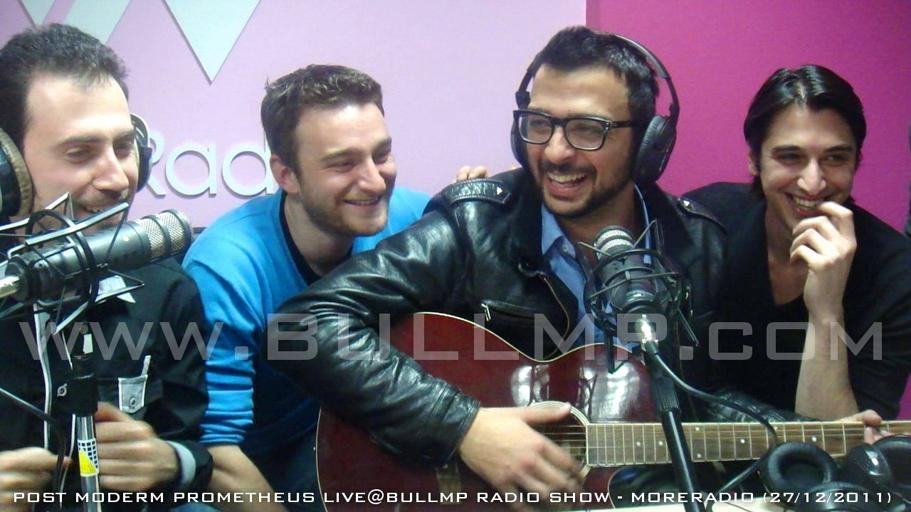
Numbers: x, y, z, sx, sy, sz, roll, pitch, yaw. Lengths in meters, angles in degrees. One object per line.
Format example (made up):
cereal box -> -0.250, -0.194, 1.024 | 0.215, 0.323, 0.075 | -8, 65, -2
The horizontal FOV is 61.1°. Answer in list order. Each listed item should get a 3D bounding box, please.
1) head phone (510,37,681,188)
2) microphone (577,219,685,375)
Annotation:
head phone -> 0.548, -0.573, 3.114 | 0.572, 0.476, 0.228 | 8, 13, 15
microphone -> 0.596, 0.103, 2.650 | 0.268, 0.532, 0.259 | 23, -58, -14
